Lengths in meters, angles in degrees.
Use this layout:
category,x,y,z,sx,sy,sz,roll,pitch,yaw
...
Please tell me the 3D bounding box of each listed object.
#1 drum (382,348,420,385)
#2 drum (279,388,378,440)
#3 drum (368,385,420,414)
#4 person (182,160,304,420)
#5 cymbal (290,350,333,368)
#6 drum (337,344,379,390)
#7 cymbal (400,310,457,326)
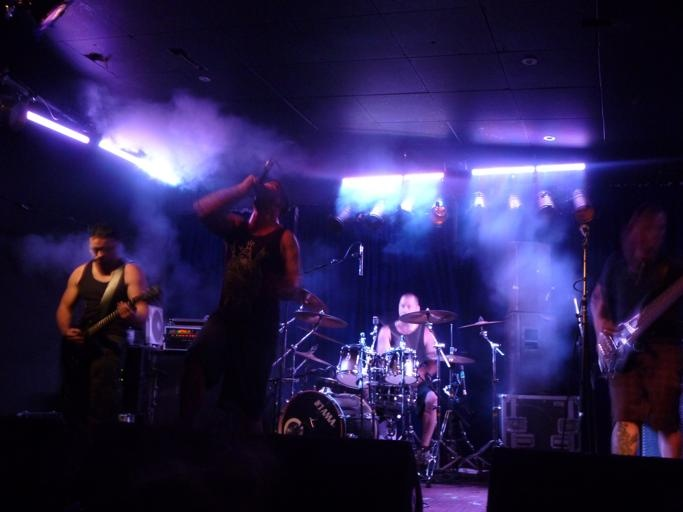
category,x,y,z,sx,sy,sz,roll,pitch,yaw
drum,0.719,1.335,7.778,0.419,0.322,0.407,0,-20,0
drum,-0.122,1.706,6.906,0.782,0.823,0.565,-8,-16,30
drum,0.618,1.717,7.756,0.462,0.193,0.380,7,-29,0
person,-0.667,0.208,4.517,0.802,1.895,0.331,8,-16,-4
cymbal,-0.391,1.266,8.336,0.469,0.084,0.355,25,-19,12
drum,0.203,1.326,7.857,0.533,0.532,0.346,1,-17,20
cymbal,1.089,0.746,7.880,0.338,0.075,0.341,8,-21,-16
